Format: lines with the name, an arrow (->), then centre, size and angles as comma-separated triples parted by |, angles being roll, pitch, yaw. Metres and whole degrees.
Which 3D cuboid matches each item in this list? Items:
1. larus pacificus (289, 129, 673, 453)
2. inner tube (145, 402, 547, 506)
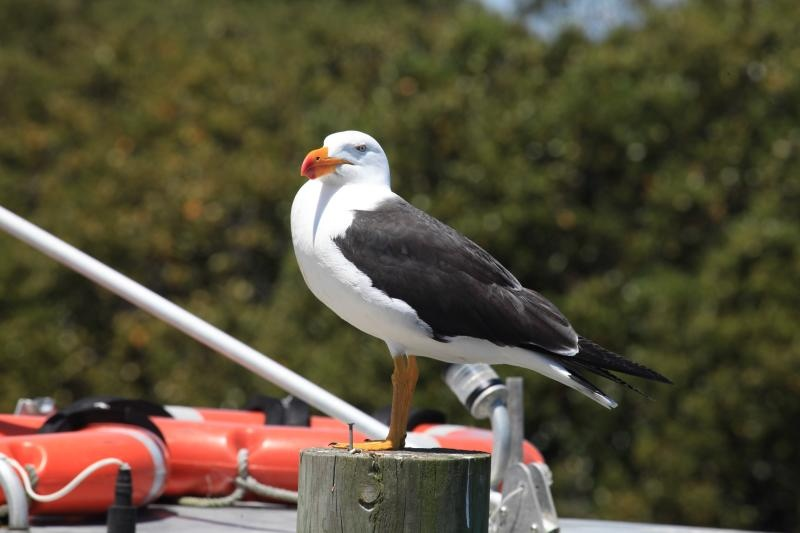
larus pacificus -> 0.712, 0.270, 13.743 | 3.380, 2.874, 1.341 | 4, 4, -4
inner tube -> -0.865, 1.950, 14.370 | 3.007, 1.007, 2.211 | -2, 3, -30
